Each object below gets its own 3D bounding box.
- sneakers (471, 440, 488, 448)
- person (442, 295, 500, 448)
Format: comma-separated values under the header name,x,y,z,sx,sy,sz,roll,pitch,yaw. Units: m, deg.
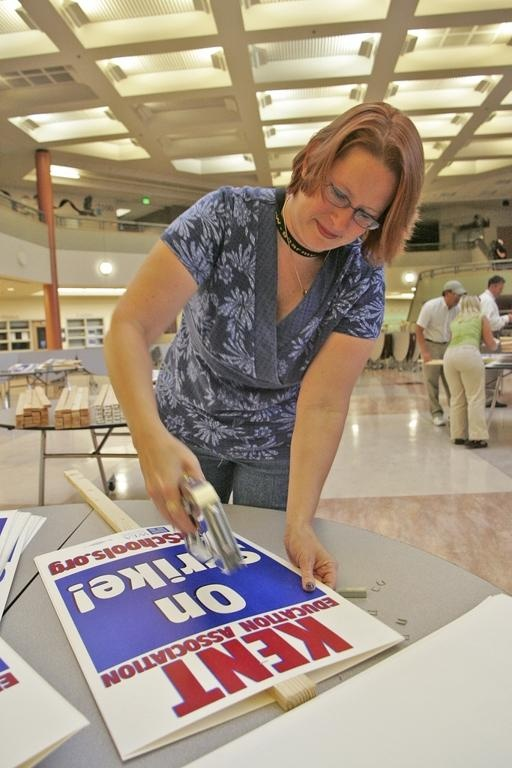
name,x,y,z,sx,sy,sz,roll,pitch,yaw
sneakers,1.804,0.487,4.408,0.120,0.080,0.040,8,11,32
person,1.821,-0.140,4.689,0.423,1.284,0.710,1,3,23
